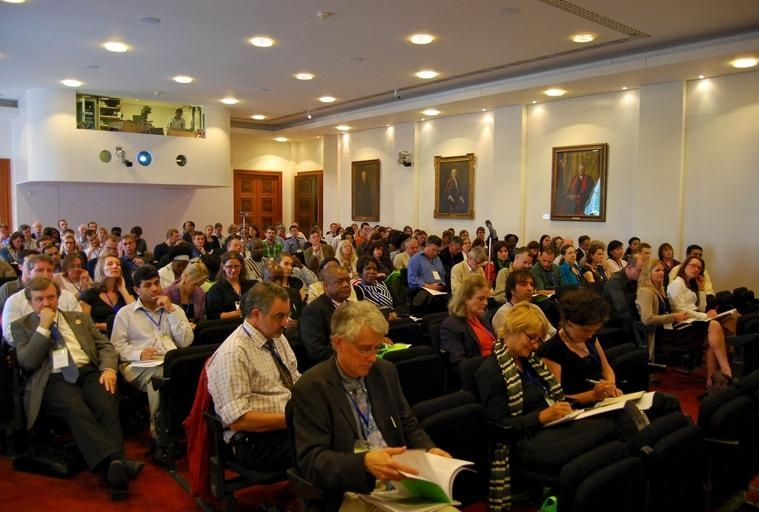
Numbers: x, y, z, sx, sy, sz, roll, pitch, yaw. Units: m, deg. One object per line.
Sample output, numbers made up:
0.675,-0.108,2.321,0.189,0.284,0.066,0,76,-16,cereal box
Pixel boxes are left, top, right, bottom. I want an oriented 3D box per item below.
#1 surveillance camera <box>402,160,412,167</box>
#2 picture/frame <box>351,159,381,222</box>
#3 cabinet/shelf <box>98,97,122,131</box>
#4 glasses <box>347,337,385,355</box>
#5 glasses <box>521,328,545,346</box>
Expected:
0.692,-2.400,13.688,0.263,0.163,0.193,3,5,35,surveillance camera
-0.428,-1.849,14.929,1.108,1.698,0.086,4,5,42,picture/frame
-6.349,-3.252,12.335,0.442,0.824,0.217,2,-1,-21,cabinet/shelf
-0.127,0.601,3.367,0.146,0.093,0.180,1,-9,-42,glasses
1.171,0.621,4.040,0.129,0.086,0.164,0,-8,-19,glasses
